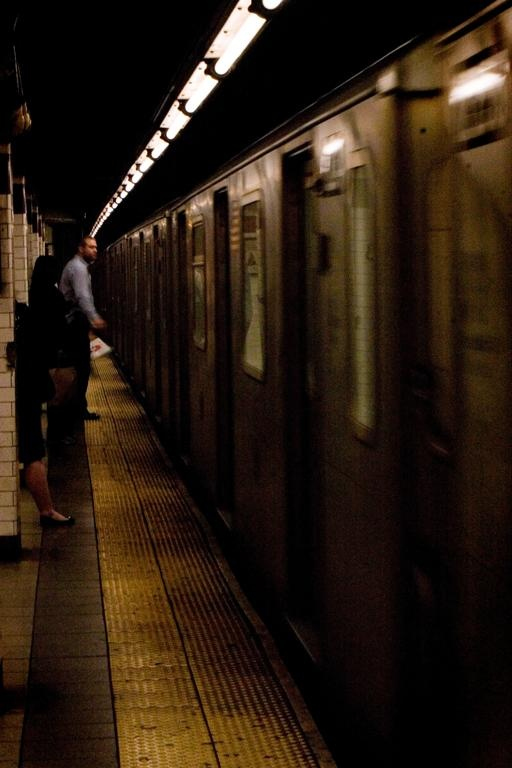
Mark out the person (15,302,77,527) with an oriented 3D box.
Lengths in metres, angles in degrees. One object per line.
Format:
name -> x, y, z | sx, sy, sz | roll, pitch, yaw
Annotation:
person -> -1.665, 0.258, 4.567 | 0.249, 1.717, 0.709 | 0, 1, -14
